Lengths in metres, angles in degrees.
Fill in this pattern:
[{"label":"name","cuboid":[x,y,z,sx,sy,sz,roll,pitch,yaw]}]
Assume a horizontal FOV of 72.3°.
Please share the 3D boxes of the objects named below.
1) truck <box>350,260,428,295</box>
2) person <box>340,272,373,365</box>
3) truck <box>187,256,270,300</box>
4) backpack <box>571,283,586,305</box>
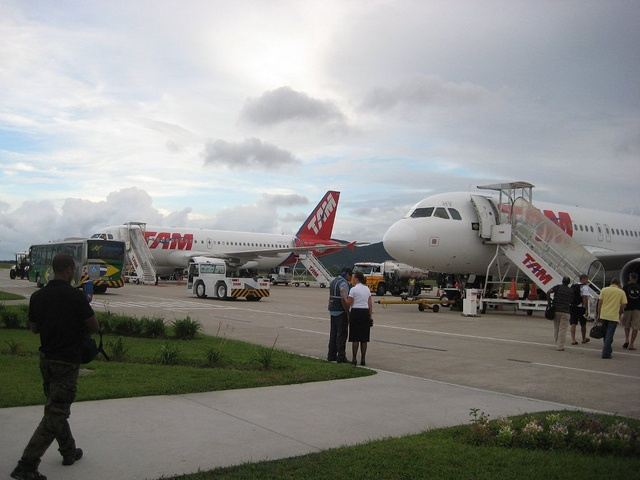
[{"label":"truck","cuboid":[9.527,3.979,50.958,13.387,4.500,4.889,8,-11,-37]},{"label":"person","cuboid":[1.037,2.038,11.548,0.639,1.684,1.337,1,-1,6]},{"label":"truck","cuboid":[-7.087,2.863,31.525,4.734,2.274,3.118,1,-2,42]},{"label":"backpack","cuboid":[9.222,1.966,15.580,0.449,0.808,0.528,13,-10,-8]}]
